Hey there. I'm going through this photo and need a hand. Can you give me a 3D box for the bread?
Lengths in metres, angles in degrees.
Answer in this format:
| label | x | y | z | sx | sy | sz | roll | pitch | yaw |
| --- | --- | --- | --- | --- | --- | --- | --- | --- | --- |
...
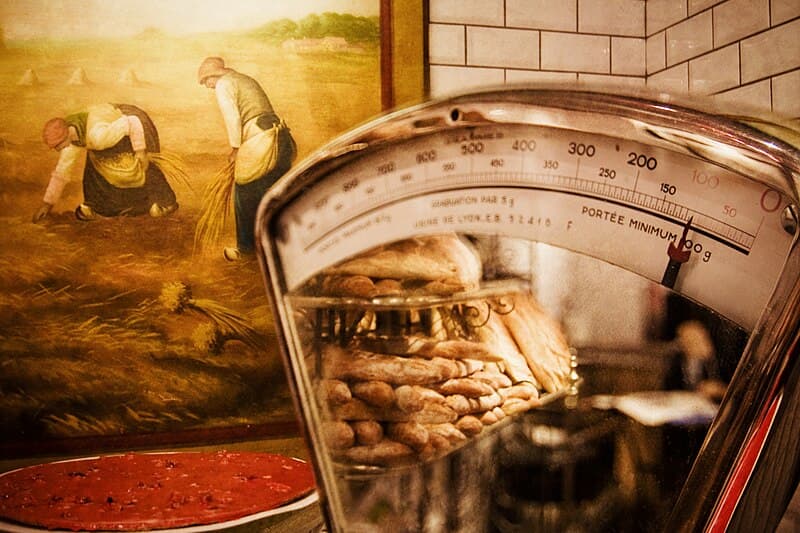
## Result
| label | x | y | z | sx | sy | sz | roll | pitch | yaw |
| --- | --- | --- | --- | --- | --- | --- | --- | --- | --- |
| bread | 0.034 | 0.138 | 1.308 | 0.417 | 0.323 | 0.121 | -14 | -1 | 18 |
